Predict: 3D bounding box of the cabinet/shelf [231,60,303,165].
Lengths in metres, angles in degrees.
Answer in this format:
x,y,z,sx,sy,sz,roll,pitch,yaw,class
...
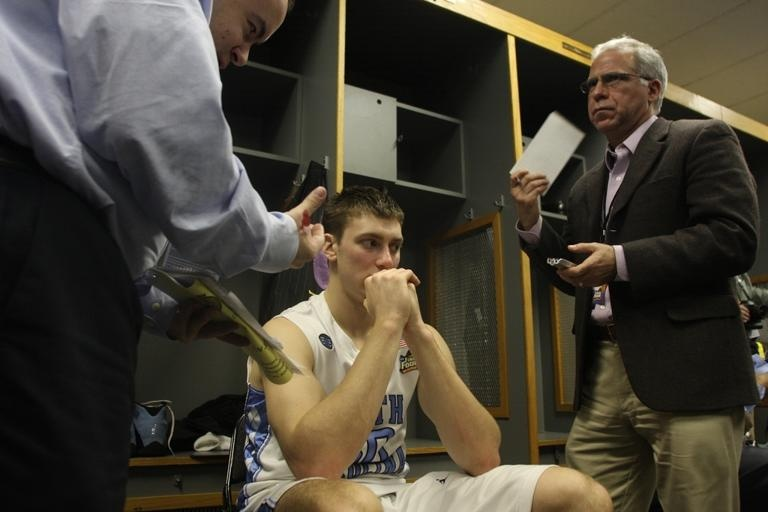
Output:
x,y,z,sx,sy,sz,roll,pitch,yaw,class
-0.723,-0.773,3.449,0.315,0.493,0.487,7,8,25,cabinet/shelf

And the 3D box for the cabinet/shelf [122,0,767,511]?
x,y,z,sx,sy,sz,roll,pitch,yaw,class
0.211,0.012,2.511,2.379,2.553,0.632,0,8,6,cabinet/shelf

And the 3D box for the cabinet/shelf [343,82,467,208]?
x,y,z,sx,sy,sz,roll,pitch,yaw,class
0.055,-0.581,3.660,0.769,0.452,0.457,17,-40,-19,cabinet/shelf
